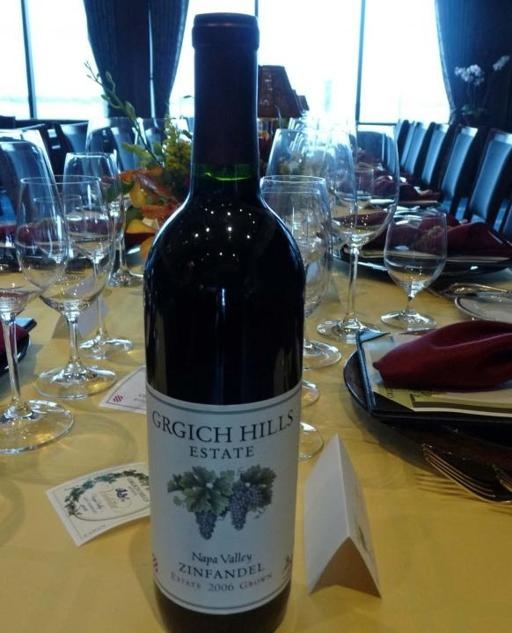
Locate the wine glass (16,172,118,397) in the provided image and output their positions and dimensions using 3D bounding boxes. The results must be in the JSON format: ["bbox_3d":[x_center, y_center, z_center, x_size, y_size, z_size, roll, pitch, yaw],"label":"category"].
[{"bbox_3d":[-0.203,-0.043,0.603,0.077,0.199,0.081,20,40,36],"label":"wine glass"}]
